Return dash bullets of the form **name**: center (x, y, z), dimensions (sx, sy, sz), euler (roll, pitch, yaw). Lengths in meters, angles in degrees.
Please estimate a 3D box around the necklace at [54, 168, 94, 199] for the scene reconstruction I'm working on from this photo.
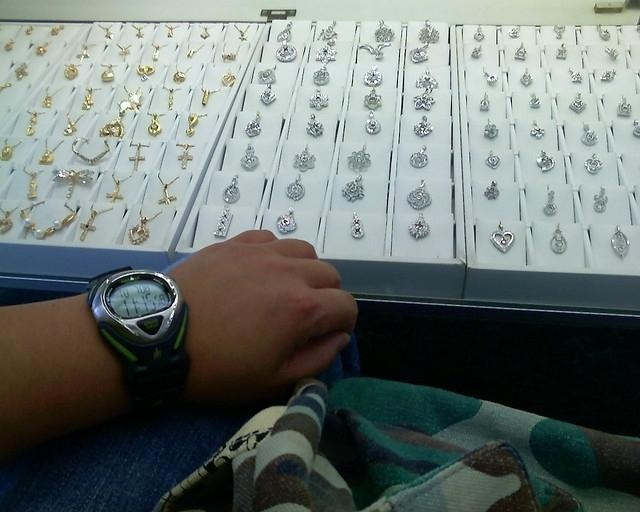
- **necklace**: center (-0.822, -0.227, 1.472), dimensions (0.099, 0.046, 0.117), euler (5, 91, -7)

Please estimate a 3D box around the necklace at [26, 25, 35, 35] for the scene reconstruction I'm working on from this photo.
- **necklace**: center (-1.249, -0.970, 1.932), dimensions (0.022, 0.019, 0.040), euler (6, 69, -4)

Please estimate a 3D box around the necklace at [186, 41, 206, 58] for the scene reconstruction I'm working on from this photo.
- **necklace**: center (-0.543, -0.884, 1.927), dimensions (0.051, 0.021, 0.080), euler (11, 73, 9)

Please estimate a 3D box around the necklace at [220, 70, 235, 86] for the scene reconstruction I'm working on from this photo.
- **necklace**: center (-0.369, -0.710, 1.807), dimensions (0.061, 0.023, 0.096), euler (-12, 58, -9)

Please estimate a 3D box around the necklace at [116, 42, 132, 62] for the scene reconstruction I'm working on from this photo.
- **necklace**: center (-0.853, -0.885, 1.948), dimensions (0.058, 0.036, 0.088), euler (2, 73, -4)

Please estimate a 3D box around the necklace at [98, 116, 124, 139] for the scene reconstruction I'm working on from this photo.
- **necklace**: center (-0.776, -0.473, 1.670), dimensions (0.073, 0.024, 0.080), euler (25, 68, 17)

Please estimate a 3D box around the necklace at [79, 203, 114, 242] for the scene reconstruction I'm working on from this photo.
- **necklace**: center (-0.710, -0.104, 1.402), dimensions (0.064, 0.017, 0.103), euler (6, 52, 4)

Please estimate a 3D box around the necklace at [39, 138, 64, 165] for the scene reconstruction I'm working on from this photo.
- **necklace**: center (-0.953, -0.366, 1.587), dimensions (0.053, 0.030, 0.084), euler (1, 77, 14)

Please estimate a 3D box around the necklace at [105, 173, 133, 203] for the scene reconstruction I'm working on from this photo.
- **necklace**: center (-0.674, -0.226, 1.494), dimensions (0.068, 0.011, 0.122), euler (0, 57, -1)

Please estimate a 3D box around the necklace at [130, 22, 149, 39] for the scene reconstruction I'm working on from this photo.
- **necklace**: center (-0.818, -1.020, 2.019), dimensions (0.071, 0.027, 0.081), euler (1, 82, 1)

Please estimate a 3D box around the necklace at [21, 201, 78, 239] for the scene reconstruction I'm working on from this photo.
- **necklace**: center (-0.843, -0.118, 1.396), dimensions (0.106, 0.040, 0.136), euler (15, 52, 11)

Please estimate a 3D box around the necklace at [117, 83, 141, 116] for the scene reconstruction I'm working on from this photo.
- **necklace**: center (-0.756, -0.613, 1.767), dimensions (0.067, 0.049, 0.131), euler (-10, 57, 28)

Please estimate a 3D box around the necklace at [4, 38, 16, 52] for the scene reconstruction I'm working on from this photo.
- **necklace**: center (-1.308, -0.887, 1.894), dimensions (0.033, 0.017, 0.060), euler (-12, 59, 10)

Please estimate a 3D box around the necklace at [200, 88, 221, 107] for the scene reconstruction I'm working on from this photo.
- **necklace**: center (-0.441, -0.624, 1.754), dimensions (0.062, 0.028, 0.074), euler (8, 59, 1)

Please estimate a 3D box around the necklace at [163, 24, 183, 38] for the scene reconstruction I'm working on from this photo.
- **necklace**: center (-0.663, -1.001, 1.997), dimensions (0.066, 0.016, 0.095), euler (-5, 57, -5)

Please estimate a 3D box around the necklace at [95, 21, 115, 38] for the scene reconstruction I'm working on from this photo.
- **necklace**: center (-0.966, -1.015, 2.020), dimensions (0.067, 0.022, 0.093), euler (-7, 77, 1)

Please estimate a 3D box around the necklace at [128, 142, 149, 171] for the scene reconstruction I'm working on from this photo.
- **necklace**: center (-0.642, -0.352, 1.578), dimensions (0.053, 0.017, 0.107), euler (3, 62, 3)

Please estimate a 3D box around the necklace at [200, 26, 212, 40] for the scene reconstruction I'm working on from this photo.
- **necklace**: center (-0.515, -0.989, 1.995), dimensions (0.044, 0.017, 0.075), euler (-17, 59, -12)

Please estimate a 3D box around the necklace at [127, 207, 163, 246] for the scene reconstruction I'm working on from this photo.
- **necklace**: center (-0.533, -0.087, 1.368), dimensions (0.087, 0.018, 0.174), euler (9, 56, 3)

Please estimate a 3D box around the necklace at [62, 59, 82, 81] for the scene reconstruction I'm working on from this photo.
- **necklace**: center (-1.045, -0.771, 1.882), dimensions (0.067, 0.027, 0.082), euler (-2, 67, 1)

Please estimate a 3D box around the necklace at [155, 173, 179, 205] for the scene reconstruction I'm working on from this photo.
- **necklace**: center (-0.502, -0.224, 1.479), dimensions (0.068, 0.016, 0.129), euler (-7, 58, -6)

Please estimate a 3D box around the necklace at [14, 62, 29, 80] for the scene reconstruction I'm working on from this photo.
- **necklace**: center (-1.218, -0.753, 1.826), dimensions (0.036, 0.033, 0.083), euler (12, 58, 0)

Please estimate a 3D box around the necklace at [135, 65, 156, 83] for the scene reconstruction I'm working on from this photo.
- **necklace**: center (-0.725, -0.773, 1.865), dimensions (0.075, 0.027, 0.092), euler (-29, 62, -19)

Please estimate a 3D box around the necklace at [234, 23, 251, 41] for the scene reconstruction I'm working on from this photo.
- **necklace**: center (-0.346, -0.986, 1.978), dimensions (0.067, 0.022, 0.103), euler (-3, 57, -3)

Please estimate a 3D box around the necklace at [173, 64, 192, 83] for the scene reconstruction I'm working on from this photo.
- **necklace**: center (-0.566, -0.741, 1.856), dimensions (0.054, 0.055, 0.075), euler (26, 40, -8)

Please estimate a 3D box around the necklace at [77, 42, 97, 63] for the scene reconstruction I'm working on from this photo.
- **necklace**: center (-1.020, -0.891, 1.959), dimensions (0.060, 0.031, 0.112), euler (6, 60, -3)

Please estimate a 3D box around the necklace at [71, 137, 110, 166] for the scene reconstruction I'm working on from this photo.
- **necklace**: center (-0.818, -0.380, 1.596), dimensions (0.135, 0.026, 0.116), euler (11, 57, 5)

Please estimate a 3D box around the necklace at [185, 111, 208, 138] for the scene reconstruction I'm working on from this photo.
- **necklace**: center (-0.458, -0.488, 1.662), dimensions (0.054, 0.035, 0.101), euler (-25, 75, 12)

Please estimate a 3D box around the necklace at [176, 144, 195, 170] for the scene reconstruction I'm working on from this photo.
- **necklace**: center (-0.471, -0.349, 1.555), dimensions (0.058, 0.018, 0.113), euler (-4, 57, -4)

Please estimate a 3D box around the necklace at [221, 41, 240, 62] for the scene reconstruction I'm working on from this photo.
- **necklace**: center (-0.381, -0.880, 1.918), dimensions (0.065, 0.046, 0.100), euler (1, 60, 4)

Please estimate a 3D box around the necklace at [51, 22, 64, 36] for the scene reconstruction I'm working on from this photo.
- **necklace**: center (-1.173, -1.005, 1.993), dimensions (0.030, 0.020, 0.054), euler (36, 71, -4)

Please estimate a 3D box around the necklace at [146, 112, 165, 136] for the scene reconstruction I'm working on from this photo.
- **necklace**: center (-0.616, -0.491, 1.675), dimensions (0.061, 0.031, 0.089), euler (-2, 76, 0)

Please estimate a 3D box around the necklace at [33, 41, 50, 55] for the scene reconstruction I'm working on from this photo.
- **necklace**: center (-1.194, -0.886, 1.913), dimensions (0.036, 0.032, 0.058), euler (36, 42, -12)

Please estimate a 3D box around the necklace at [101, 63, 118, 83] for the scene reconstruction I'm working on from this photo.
- **necklace**: center (-0.884, -0.759, 1.863), dimensions (0.054, 0.019, 0.099), euler (-10, 58, -8)
